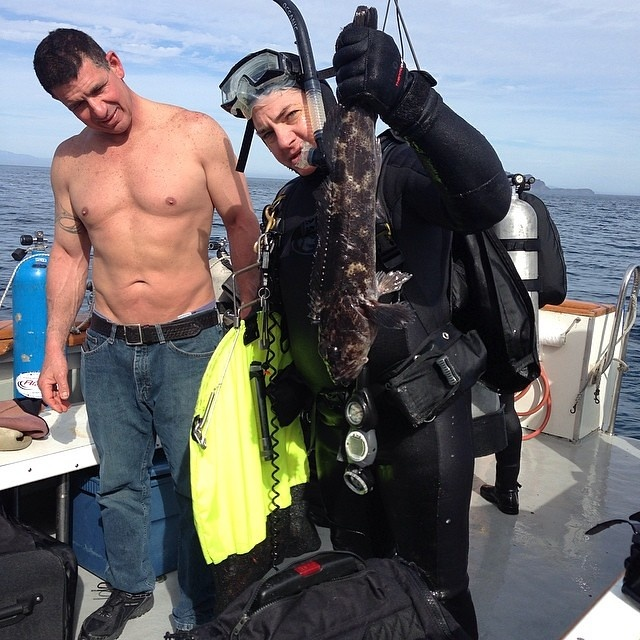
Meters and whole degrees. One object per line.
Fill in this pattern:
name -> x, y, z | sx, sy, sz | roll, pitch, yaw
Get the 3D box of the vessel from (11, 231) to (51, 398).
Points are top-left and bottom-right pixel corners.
vessel -> -1.865, -0.034, 3.829 | 0.240, 0.991, 0.269 | 14, 12, 25

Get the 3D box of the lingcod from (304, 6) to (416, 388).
lingcod -> 0.087, -0.314, 1.759 | 0.356, 0.897, 0.375 | -17, 25, -42

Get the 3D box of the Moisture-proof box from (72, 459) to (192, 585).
Moisture-proof box -> -0.991, 1.097, 3.291 | 0.394, 0.459, 0.502 | 3, -10, 35
